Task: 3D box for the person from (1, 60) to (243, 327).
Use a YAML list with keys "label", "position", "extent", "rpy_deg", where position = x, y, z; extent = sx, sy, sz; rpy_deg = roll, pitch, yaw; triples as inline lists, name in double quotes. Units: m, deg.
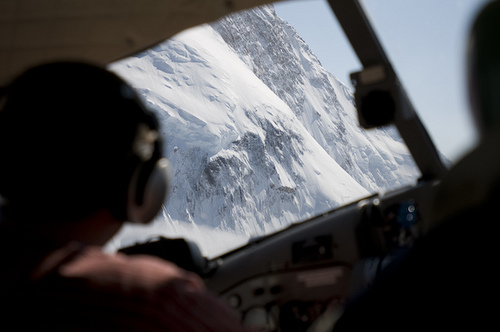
- label: "person"
  position: [-0.427, 0.118, 1.430]
  extent: [0.680, 0.486, 0.636]
  rpy_deg: [7, 54, -4]
